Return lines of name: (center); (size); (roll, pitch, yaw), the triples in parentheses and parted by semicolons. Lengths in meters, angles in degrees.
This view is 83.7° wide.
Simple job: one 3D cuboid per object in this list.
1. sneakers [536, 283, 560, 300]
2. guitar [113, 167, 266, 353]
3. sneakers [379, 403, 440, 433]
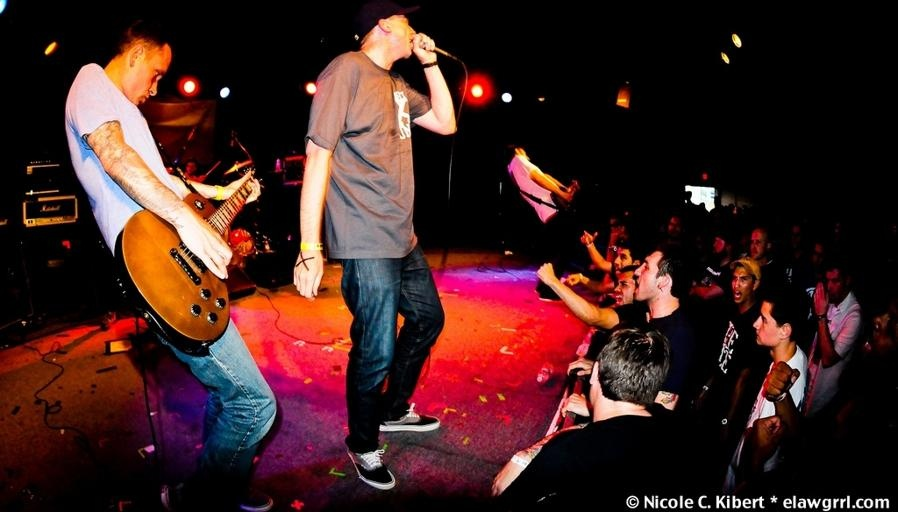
sneakers: (1.700, 0.663, 8.958); (0.277, 0.184, 0.632); (-11, 6, -15)
guitar: (-2.320, -0.045, 5.086); (0.977, 1.417, 1.838); (7, 17, 9)
sneakers: (-0.433, 1.860, 5.746); (0.722, 0.274, 0.247); (0, 2, -7)
